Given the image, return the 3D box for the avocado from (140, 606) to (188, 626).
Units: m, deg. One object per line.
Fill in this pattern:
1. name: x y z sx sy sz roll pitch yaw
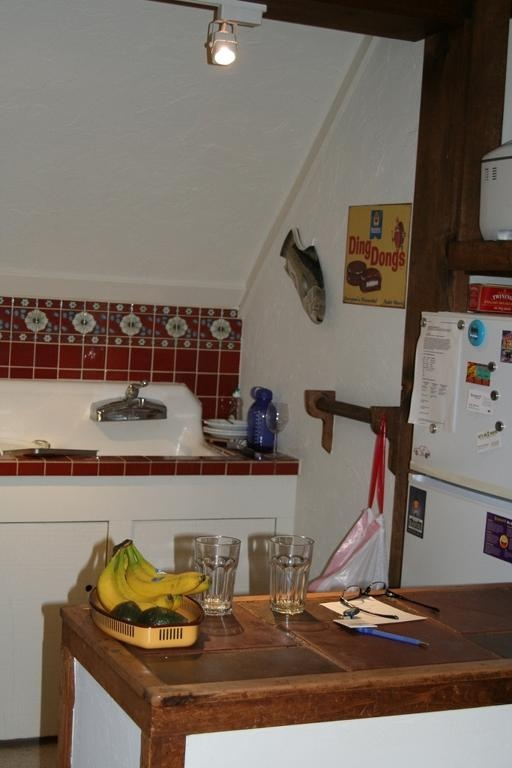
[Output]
1. avocado: -0.142 0.357 0.990 0.052 0.031 0.029 9 23 -12

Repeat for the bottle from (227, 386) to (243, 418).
1. bottle: -0.103 0.101 3.443 0.078 0.180 0.132 10 1 -2

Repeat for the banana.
1. banana: -0.180 0.351 1.135 0.166 0.092 0.107 20 3 26

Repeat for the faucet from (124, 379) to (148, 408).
1. faucet: -0.564 0.047 3.040 0.094 0.115 0.109 10 1 -11

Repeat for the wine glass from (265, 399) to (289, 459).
1. wine glass: 0.081 0.194 2.809 0.082 0.223 0.364 10 1 3

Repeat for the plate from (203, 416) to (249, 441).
1. plate: -0.168 0.215 3.116 0.244 0.099 0.093 11 1 35
